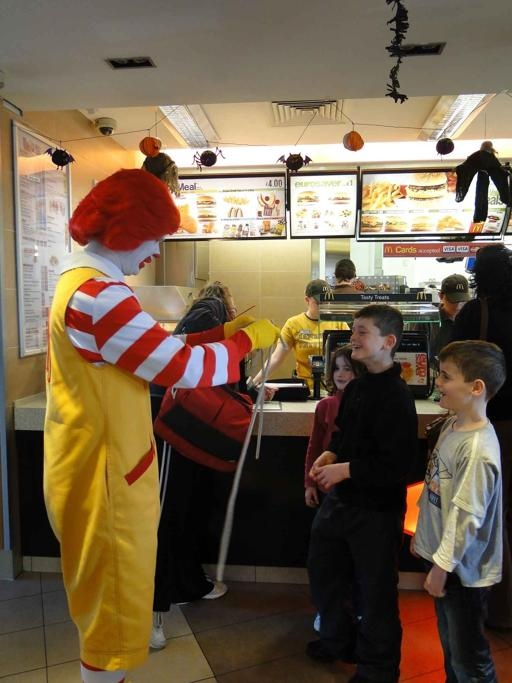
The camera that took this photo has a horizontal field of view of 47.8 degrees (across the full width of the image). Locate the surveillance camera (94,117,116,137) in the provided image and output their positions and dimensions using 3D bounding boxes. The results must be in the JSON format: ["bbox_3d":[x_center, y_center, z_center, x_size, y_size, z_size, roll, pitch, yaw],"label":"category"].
[{"bbox_3d":[-1.026,-1.443,3.888,0.156,0.114,0.171,-1,4,1],"label":"surveillance camera"}]

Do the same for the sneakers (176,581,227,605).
[{"bbox_3d":[-0.236,1.143,2.629,0.241,0.090,0.078,-5,9,-29],"label":"sneakers"}]

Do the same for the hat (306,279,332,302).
[{"bbox_3d":[0.431,-0.339,3.815,0.159,0.118,0.220,-5,19,-25],"label":"hat"}]

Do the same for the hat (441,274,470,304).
[{"bbox_3d":[1.340,-0.355,3.870,0.158,0.119,0.228,-2,18,-2],"label":"hat"}]
